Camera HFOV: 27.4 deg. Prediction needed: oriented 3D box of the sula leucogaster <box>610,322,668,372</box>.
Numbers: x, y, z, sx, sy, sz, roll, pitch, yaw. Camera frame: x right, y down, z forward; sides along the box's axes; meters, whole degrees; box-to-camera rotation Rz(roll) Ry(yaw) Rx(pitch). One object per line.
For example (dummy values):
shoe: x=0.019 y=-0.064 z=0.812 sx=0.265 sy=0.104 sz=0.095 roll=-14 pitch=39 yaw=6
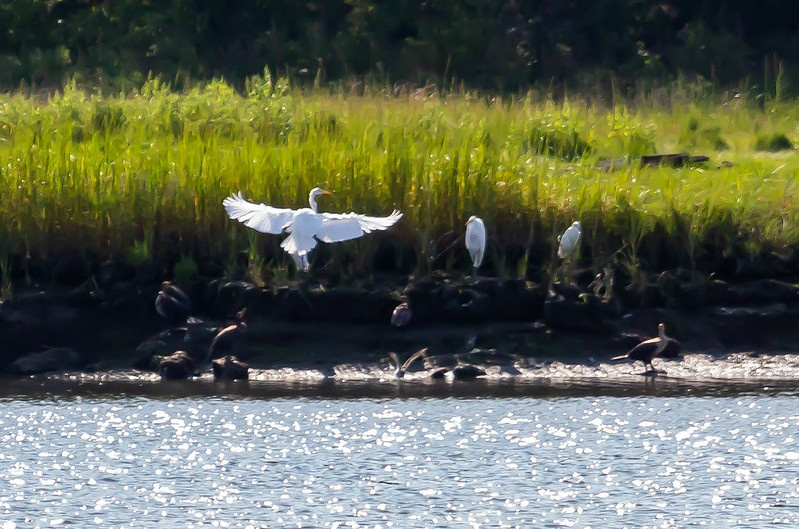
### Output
sula leucogaster: x=3.512 y=1.166 z=23.482 sx=0.700 sy=0.686 sz=0.469 roll=4 pitch=8 yaw=9

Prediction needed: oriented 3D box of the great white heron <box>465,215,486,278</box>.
great white heron: x=1.125 y=-0.307 z=24.019 sx=0.272 sy=0.806 sz=0.330 roll=0 pitch=3 yaw=-7

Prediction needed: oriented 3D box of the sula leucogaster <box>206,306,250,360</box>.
sula leucogaster: x=-2.453 y=1.040 z=23.589 sx=0.825 sy=0.800 sz=0.341 roll=-10 pitch=26 yaw=0

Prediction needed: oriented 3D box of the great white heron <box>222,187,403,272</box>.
great white heron: x=-1.315 y=-0.683 z=24.024 sx=2.437 sy=1.107 sz=1.217 roll=10 pitch=8 yaw=9

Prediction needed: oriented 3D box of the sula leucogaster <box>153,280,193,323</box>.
sula leucogaster: x=-3.303 y=0.568 z=23.952 sx=0.526 sy=0.589 sz=0.382 roll=2 pitch=8 yaw=-8
